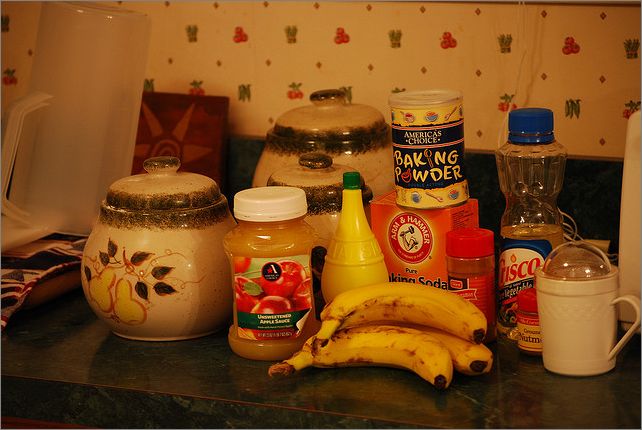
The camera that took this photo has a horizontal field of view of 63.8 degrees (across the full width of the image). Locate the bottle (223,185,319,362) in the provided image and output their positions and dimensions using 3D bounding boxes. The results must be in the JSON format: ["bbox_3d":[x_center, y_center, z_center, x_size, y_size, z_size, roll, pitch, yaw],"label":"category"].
[{"bbox_3d":[-0.078,0.096,0.853,0.172,0.244,0.162,-1,5,0],"label":"bottle"}]

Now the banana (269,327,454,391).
[{"bbox_3d":[0.074,0.211,0.769,0.190,0.045,0.107,-6,30,14],"label":"banana"}]

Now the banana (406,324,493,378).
[{"bbox_3d":[0.168,0.195,0.771,0.152,0.045,0.043,10,15,-36],"label":"banana"}]

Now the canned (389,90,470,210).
[{"bbox_3d":[0.168,-0.101,0.805,0.121,0.174,0.066,0,17,6],"label":"canned"}]

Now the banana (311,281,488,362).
[{"bbox_3d":[0.128,0.188,0.765,0.217,0.054,0.105,1,37,13],"label":"banana"}]
